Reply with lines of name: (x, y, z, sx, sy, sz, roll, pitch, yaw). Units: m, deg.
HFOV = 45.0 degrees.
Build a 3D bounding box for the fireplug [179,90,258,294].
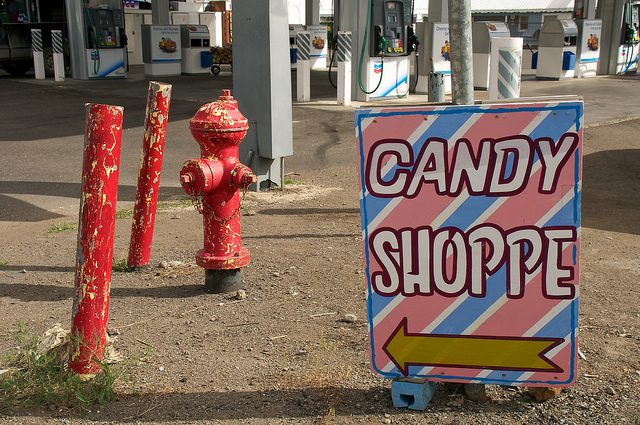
fireplug: (-0.935, -0.179, 7.190, 0.664, 1.847, 0.578, -2, 12, -8)
